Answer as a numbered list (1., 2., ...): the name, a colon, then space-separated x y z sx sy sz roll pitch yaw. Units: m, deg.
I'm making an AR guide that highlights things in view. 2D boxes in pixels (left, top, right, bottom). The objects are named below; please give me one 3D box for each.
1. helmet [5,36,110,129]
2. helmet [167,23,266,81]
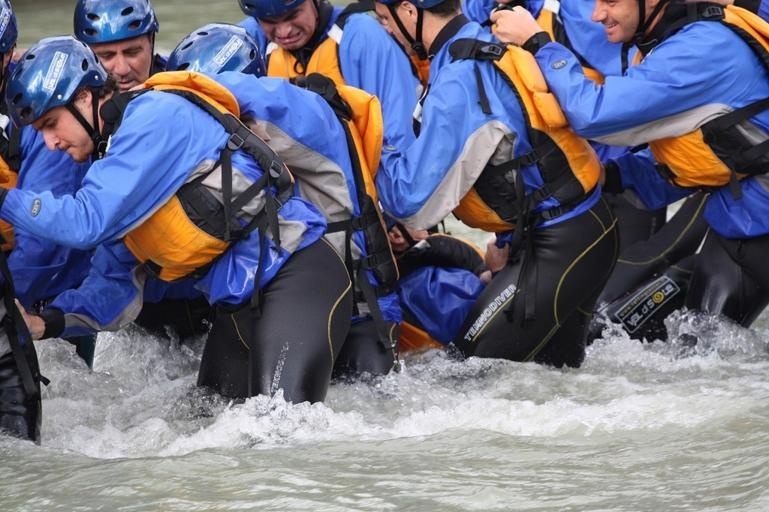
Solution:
1. helmet: -1.707 -0.915 5.713 0.522 0.395 0.402 -8 27 -22
2. helmet: -0.930 -1.131 6.096 0.372 0.271 0.473 19 29 31
